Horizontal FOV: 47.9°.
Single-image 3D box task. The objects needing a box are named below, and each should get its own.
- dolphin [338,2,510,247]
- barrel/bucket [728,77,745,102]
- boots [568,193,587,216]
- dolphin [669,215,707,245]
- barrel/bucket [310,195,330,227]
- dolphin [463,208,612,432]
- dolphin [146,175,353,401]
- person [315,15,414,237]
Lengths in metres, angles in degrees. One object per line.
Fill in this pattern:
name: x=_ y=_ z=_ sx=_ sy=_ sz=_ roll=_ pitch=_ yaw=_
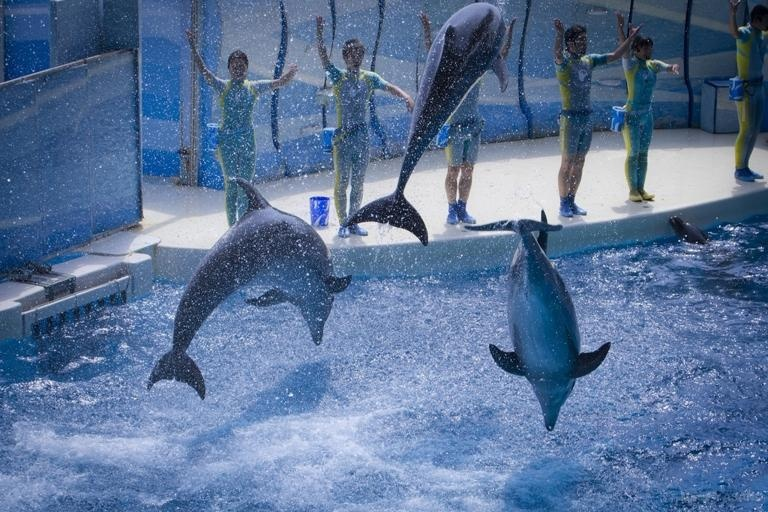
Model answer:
dolphin: x=0.386 y=-1.013 z=6.415 sx=1.043 sy=1.662 sz=0.361 roll=-8 pitch=15 yaw=-27
barrel/bucket: x=4.475 y=-2.112 z=11.002 sx=0.216 sy=0.467 sz=0.248 roll=2 pitch=3 yaw=20
boots: x=2.197 y=-0.580 z=9.874 sx=0.126 sy=0.263 sz=0.322 roll=-9 pitch=15 yaw=-27
dolphin: x=3.489 y=-0.279 z=9.982 sx=0.201 sy=0.192 sz=0.528 roll=-36 pitch=57 yaw=-7
barrel/bucket: x=-0.689 y=-0.486 z=9.428 sx=0.241 sy=0.357 sz=0.348 roll=-1 pitch=15 yaw=-4
dolphin: x=1.115 y=0.432 z=6.095 sx=0.810 sy=1.765 sz=0.534 roll=-6 pitch=1 yaw=18
dolphin: x=-1.048 y=0.117 z=6.834 sx=0.913 sy=1.204 sz=1.872 roll=4 pitch=18 yaw=45
person: x=-0.216 y=-1.304 z=9.004 sx=0.821 sy=2.773 sz=0.783 roll=-1 pitch=8 yaw=-9
